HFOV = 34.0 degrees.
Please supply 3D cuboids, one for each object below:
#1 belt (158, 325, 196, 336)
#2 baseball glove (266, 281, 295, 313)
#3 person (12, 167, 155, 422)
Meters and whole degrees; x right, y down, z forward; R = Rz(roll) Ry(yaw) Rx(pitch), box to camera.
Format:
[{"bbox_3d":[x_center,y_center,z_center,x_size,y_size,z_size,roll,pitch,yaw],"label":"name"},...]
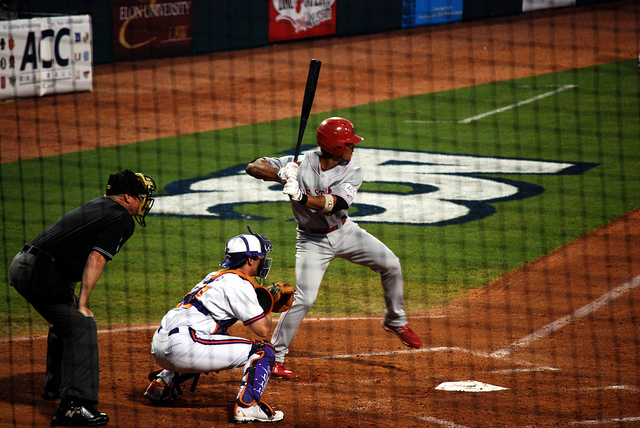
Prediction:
[{"bbox_3d":[-2.001,1.621,14.638,0.533,0.107,0.099,-1,9,6],"label":"belt"},{"bbox_3d":[-0.540,1.219,15.360,0.442,0.406,0.182,-9,-26,3],"label":"baseball glove"},{"bbox_3d":[-3.294,1.157,14.673,1.828,3.405,0.896,-6,10,-14],"label":"person"}]
